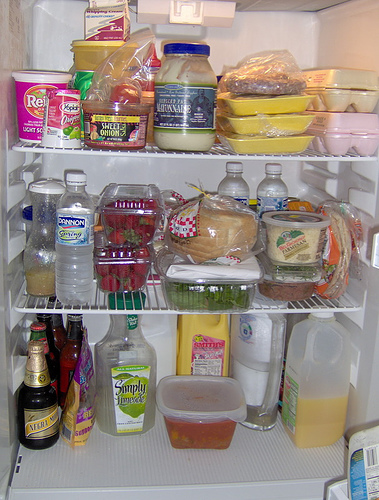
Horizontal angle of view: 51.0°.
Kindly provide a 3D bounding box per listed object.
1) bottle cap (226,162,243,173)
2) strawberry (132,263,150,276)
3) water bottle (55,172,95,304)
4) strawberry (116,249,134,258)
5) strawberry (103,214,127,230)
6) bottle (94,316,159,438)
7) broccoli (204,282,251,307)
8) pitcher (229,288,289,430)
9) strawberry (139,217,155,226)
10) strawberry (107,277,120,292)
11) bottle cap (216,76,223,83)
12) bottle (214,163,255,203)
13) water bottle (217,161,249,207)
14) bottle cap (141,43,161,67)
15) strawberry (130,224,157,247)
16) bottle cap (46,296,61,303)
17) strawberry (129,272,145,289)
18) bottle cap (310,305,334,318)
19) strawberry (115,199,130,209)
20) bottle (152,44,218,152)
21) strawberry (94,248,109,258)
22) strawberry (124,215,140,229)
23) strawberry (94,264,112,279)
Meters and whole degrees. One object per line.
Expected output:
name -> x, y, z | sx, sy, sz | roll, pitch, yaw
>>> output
bottle cap -> 0.125, -0.230, 1.112 | 0.041, 0.029, 0.044 | 9, 15, 23
strawberry -> -0.118, 0.044, 0.960 | 0.034, 0.024, 0.031 | 7, 12, 33
water bottle -> -0.257, -0.020, 0.880 | 0.084, 0.295, 0.076 | -1, 14, -17
strawberry -> -0.153, 0.008, 0.938 | 0.030, 0.020, 0.007 | 3, -14, -17
strawberry -> -0.173, -0.067, 0.929 | 0.035, 0.026, 0.038 | -8, 14, -36
bottle -> -0.179, 0.298, 1.115 | 0.176, 0.411, 0.145 | -5, 16, -31
broccoli -> 0.087, 0.103, 0.926 | 0.089, 0.028, 0.061 | 9, 19, -36
pitcher -> 0.162, 0.322, 1.166 | 0.209, 0.387, 0.157 | -5, 27, -15
strawberry -> -0.100, -0.067, 0.937 | 0.034, 0.021, 0.012 | 1, 13, -9
strawberry -> -0.187, 0.085, 0.965 | 0.032, 0.036, 0.032 | 1, 15, 0
bottle cap -> 0.081, -0.471, 1.100 | 0.017, 0.015, 0.004 | 3, 6, 27
bottle -> 0.126, -0.163, 1.140 | 0.101, 0.165, 0.099 | 0, 19, 0
water bottle -> 0.125, -0.187, 1.108 | 0.087, 0.111, 0.071 | 4, 13, 3
bottle cap -> -0.089, -0.461, 0.956 | 0.023, 0.054, 0.092 | 6, 14, 15
strawberry -> -0.112, -0.038, 0.951 | 0.055, 0.042, 0.019 | -23, 38, 10
bottle cap -> -0.338, 0.122, 0.977 | 0.025, 0.009, 0.032 | -2, 13, -12
strawberry -> -0.131, 0.073, 0.969 | 0.025, 0.025, 0.029 | 43, 1, -43
bottle cap -> 0.354, 0.159, 1.026 | 0.035, 0.020, 0.034 | 3, 20, 11
strawberry -> -0.154, -0.106, 0.908 | 0.021, 0.006, 0.021 | 1, 49, -2
bottle -> -0.014, -0.338, 0.910 | 0.160, 0.225, 0.202 | 3, 13, 1
strawberry -> -0.215, 0.003, 0.941 | 0.027, 0.009, 0.025 | 15, 23, 21
strawberry -> -0.136, -0.066, 0.932 | 0.034, 0.045, 0.029 | 3, 35, -8
strawberry -> -0.209, 0.048, 0.947 | 0.036, 0.036, 0.037 | 4, 9, -2
